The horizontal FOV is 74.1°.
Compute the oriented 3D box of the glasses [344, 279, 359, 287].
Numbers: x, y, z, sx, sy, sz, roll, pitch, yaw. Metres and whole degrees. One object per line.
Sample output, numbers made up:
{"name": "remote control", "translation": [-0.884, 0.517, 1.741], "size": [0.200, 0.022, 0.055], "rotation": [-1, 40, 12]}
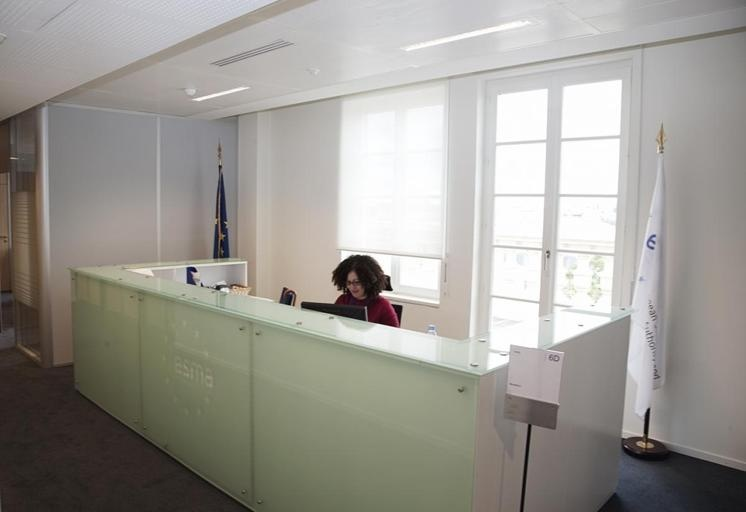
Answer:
{"name": "glasses", "translation": [-0.198, 0.254, 4.746], "size": [0.172, 0.079, 0.053], "rotation": [9, 13, 36]}

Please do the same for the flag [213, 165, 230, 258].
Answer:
{"name": "flag", "translation": [-2.409, -0.715, 7.787], "size": [0.234, 1.416, 0.526], "rotation": [-3, 11, -18]}

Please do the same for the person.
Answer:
{"name": "person", "translation": [-0.099, 0.364, 4.891], "size": [0.780, 0.753, 0.430], "rotation": [5, 11, 29]}

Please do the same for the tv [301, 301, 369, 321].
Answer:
{"name": "tv", "translation": [-0.292, 0.437, 3.893], "size": [0.432, 0.056, 0.114], "rotation": [7, 24, 13]}
